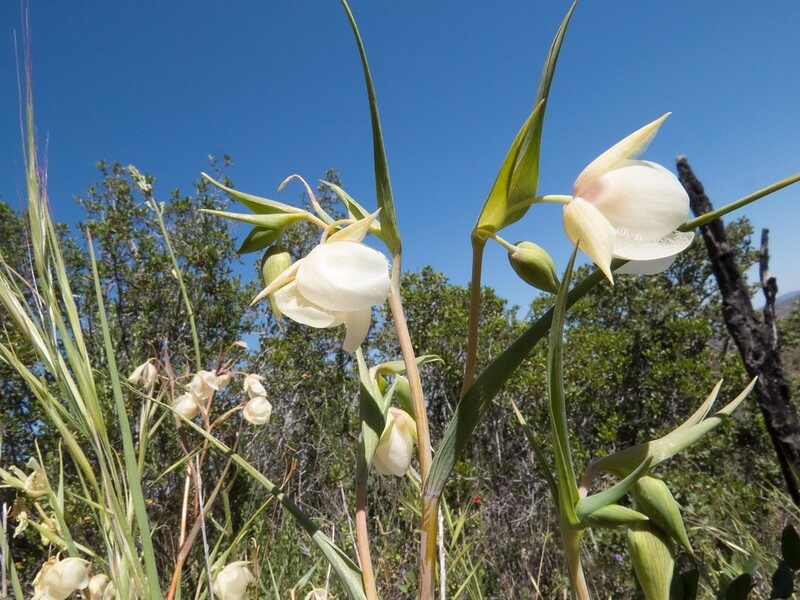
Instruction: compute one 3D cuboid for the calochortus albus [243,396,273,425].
[{"bbox_3d":[-0.778,0.594,3.204,0.147,0.164,0.070,29,-15,-29],"label":"calochortus albus"}]
